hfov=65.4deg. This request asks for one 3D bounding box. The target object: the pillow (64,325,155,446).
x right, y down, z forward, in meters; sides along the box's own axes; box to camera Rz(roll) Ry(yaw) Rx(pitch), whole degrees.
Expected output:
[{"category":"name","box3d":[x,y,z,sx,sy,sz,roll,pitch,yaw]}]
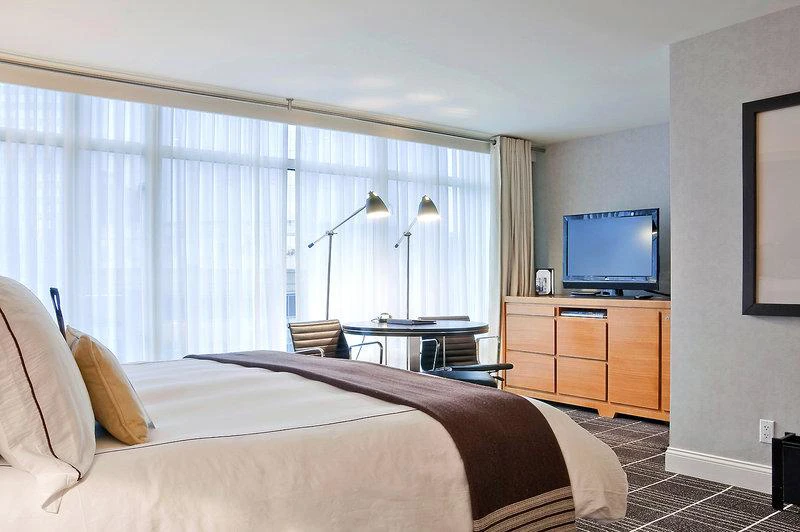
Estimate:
[{"category":"pillow","box3d":[-1.446,0.587,3.069,0.205,0.175,0.469,3,18,-41]}]

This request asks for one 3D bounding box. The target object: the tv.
[{"category":"tv","box3d":[2.192,-0.112,6.354,1.030,0.974,0.371,-1,-3,36]}]

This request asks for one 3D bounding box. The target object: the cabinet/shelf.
[{"category":"cabinet/shelf","box3d":[2.034,0.914,6.401,0.645,1.169,2.117,1,-2,-33]}]

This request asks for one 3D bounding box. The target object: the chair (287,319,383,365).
[{"category":"chair","box3d":[-0.611,0.641,5.509,0.534,0.653,0.523,1,-5,-42]}]

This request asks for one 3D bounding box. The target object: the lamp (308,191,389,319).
[{"category":"lamp","box3d":[-0.493,-0.087,6.000,0.694,1.244,0.858,-2,9,-22]}]

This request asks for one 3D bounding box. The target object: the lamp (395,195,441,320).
[{"category":"lamp","box3d":[0.151,-0.073,6.383,0.433,1.322,1.190,2,8,0]}]

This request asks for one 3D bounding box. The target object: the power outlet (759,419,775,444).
[{"category":"power outlet","box3d":[2.494,1.128,4.240,0.105,0.172,0.039,7,10,32]}]
